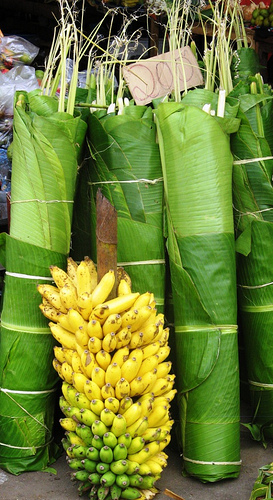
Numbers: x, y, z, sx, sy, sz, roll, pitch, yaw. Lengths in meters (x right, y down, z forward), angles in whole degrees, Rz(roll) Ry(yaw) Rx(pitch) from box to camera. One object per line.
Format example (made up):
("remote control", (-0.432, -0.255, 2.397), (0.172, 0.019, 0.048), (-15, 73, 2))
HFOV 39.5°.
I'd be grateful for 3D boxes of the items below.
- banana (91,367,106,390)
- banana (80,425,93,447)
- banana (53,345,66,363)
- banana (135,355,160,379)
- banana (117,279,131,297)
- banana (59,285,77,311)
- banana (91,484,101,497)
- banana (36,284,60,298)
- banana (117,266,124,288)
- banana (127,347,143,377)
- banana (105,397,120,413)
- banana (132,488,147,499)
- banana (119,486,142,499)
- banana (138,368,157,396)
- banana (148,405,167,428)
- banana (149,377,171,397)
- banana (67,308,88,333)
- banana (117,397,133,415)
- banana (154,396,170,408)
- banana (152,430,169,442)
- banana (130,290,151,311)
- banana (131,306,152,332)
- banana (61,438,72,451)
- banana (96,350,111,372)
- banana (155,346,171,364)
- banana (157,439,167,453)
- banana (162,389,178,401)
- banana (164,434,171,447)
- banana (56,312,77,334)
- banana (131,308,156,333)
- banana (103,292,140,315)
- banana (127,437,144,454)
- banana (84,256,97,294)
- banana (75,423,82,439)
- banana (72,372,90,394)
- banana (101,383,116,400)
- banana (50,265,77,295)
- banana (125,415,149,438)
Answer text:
("banana", (-0.112, 0.378, 1.127), (0.031, 0.070, 0.038), (-5, 16, 23))
("banana", (-0.145, 0.541, 1.106), (0.036, 0.075, 0.023), (0, 10, -11))
("banana", (-0.250, 0.348, 1.286), (0.020, 0.067, 0.031), (-28, 3, -33))
("banana", (0.038, 0.369, 1.241), (0.035, 0.112, 0.036), (38, 11, -2))
("banana", (-0.045, 0.137, 1.335), (0.029, 0.066, 0.029), (-10, -1, 0))
("banana", (-0.230, 0.158, 1.262), (0.050, 0.075, 0.084), (-3, 12, -23))
("banana", (-0.120, 0.717, 1.133), (0.011, 0.015, 0.053), (15, 4, 4))
("banana", (-0.307, 0.134, 1.327), (0.075, 0.028, 0.039), (16, 11, -1))
("banana", (-0.059, 0.097, 1.407), (0.019, 0.065, 0.017), (-3, -19, 20))
("banana", (-0.003, 0.346, 1.166), (0.022, 0.076, 0.034), (5, -14, 34))
("banana", (-0.072, 0.449, 1.097), (0.025, 0.045, 0.030), (32, 56, 30))
("banana", (0.012, 0.756, 1.175), (0.008, 0.013, 0.045), (-5, 41, -50))
("banana", (-0.017, 0.715, 1.133), (0.064, 0.040, 0.023), (2, 9, 6))
("banana", (0.039, 0.409, 1.185), (0.035, 0.109, 0.034), (-2, 38, -37))
("banana", (0.066, 0.522, 1.193), (0.027, 0.102, 0.036), (14, 32, -20))
("banana", (0.074, 0.457, 1.272), (0.029, 0.095, 0.035), (29, 38, -9))
("banana", (-0.179, 0.216, 1.177), (0.026, 0.088, 0.042), (-8, 34, 12))
("banana", (-0.034, 0.459, 1.124), (0.024, 0.059, 0.029), (30, 6, 39))
("banana", (0.081, 0.497, 1.250), (0.039, 0.021, 0.064), (-6, -8, -13))
("banana", (0.074, 0.590, 1.223), (0.058, 0.021, 0.016), (-31, 3, -8))
("banana", (0.016, 0.158, 1.293), (0.028, 0.034, 0.102), (26, 44, 16))
("banana", (0.004, 0.224, 1.238), (0.040, 0.121, 0.034), (-11, 57, -39))
("banana", (-0.223, 0.619, 1.214), (0.018, 0.027, 0.067), (-38, 13, -8))
("banana", (-0.097, 0.328, 1.136), (0.031, 0.073, 0.039), (0, 32, 16))
("banana", (0.092, 0.356, 1.320), (0.023, 0.032, 0.086), (14, 26, 19))
("banana", (0.083, 0.622, 1.209), (0.013, 0.048, 0.015), (32, 5, -38))
("banana", (0.115, 0.494, 1.304), (0.017, 0.026, 0.068), (2, 5, 31))
("banana", (0.103, 0.625, 1.257), (0.029, 0.050, 0.016), (-7, 46, -1))
("banana", (-0.225, 0.240, 1.227), (0.026, 0.083, 0.021), (-31, 3, -35))
("banana", (0.032, 0.231, 1.281), (0.031, 0.122, 0.040), (40, 11, 23))
("banana", (-0.045, 0.168, 1.194), (0.144, 0.051, 0.042), (-18, -7, -34))
("banana", (-0.001, 0.570, 1.105), (0.030, 0.063, 0.020), (17, 27, -12))
("banana", (-0.169, 0.086, 1.399), (0.034, 0.144, 0.044), (-3, -20, -14))
("banana", (-0.169, 0.526, 1.106), (0.013, 0.045, 0.012), (-6, 6, -7))
("banana", (-0.162, 0.394, 1.142), (0.037, 0.063, 0.035), (-7, 12, 33))
("banana", (-0.084, 0.415, 1.112), (0.032, 0.057, 0.032), (-4, 16, -4))
("banana", (-0.255, 0.109, 1.335), (0.025, 0.091, 0.029), (-28, 8, 47))
("banana", (0.001, 0.522, 1.121), (0.033, 0.040, 0.111), (39, -24, 4))
